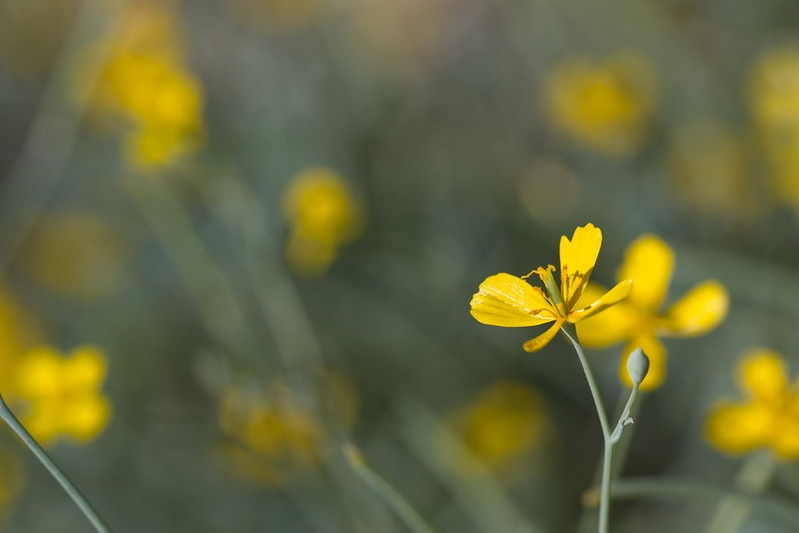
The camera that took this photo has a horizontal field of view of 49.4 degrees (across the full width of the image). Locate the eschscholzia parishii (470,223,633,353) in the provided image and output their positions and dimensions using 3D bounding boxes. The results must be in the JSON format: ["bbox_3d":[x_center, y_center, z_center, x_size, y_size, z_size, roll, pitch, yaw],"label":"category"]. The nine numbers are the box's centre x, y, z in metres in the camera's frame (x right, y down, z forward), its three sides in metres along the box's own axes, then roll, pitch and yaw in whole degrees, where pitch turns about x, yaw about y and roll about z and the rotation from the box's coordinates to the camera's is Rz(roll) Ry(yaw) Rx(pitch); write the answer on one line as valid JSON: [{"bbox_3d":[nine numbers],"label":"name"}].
[{"bbox_3d":[0.133,0.040,0.746,0.114,0.103,0.061,-18,-49,31],"label":"eschscholzia parishii"}]
